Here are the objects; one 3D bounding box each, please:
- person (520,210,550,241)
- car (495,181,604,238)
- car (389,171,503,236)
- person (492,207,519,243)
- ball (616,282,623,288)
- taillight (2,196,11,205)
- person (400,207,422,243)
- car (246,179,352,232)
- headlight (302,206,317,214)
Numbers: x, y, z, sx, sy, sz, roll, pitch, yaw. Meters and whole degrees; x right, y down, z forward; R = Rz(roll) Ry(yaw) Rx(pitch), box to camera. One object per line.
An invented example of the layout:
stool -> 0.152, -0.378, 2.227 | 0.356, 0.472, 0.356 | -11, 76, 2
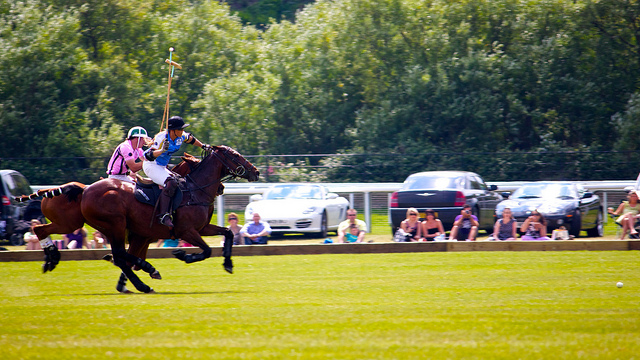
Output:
person -> 8.484, 1.724, 48.954 | 1.058, 1.139, 0.621 | 1, -2, 4
car -> 9.592, 0.726, 51.858 | 3.778, 1.200, 5.491 | 7, 15, 19
car -> 5.282, 0.679, 52.521 | 3.878, 1.499, 6.391 | 2, 6, 16
person -> 7.403, 1.705, 49.078 | 0.975, 1.244, 0.918 | -1, -2, 33
ball -> 10.507, 3.659, 43.330 | 0.182, 0.170, 0.249 | 0, -2, 19
taillight -> -12.734, 0.797, 50.723 | 0.324, 0.335, 0.084 | 2, -3, -28
person -> 3.655, 1.745, 48.839 | 0.838, 1.235, 0.473 | 1, -2, 2
car -> -0.968, 0.917, 52.627 | 3.590, 0.960, 4.529 | 7, 15, 15
headlight -> -0.361, 1.195, 51.151 | 0.591, 0.094, 0.276 | -17, 26, -16
